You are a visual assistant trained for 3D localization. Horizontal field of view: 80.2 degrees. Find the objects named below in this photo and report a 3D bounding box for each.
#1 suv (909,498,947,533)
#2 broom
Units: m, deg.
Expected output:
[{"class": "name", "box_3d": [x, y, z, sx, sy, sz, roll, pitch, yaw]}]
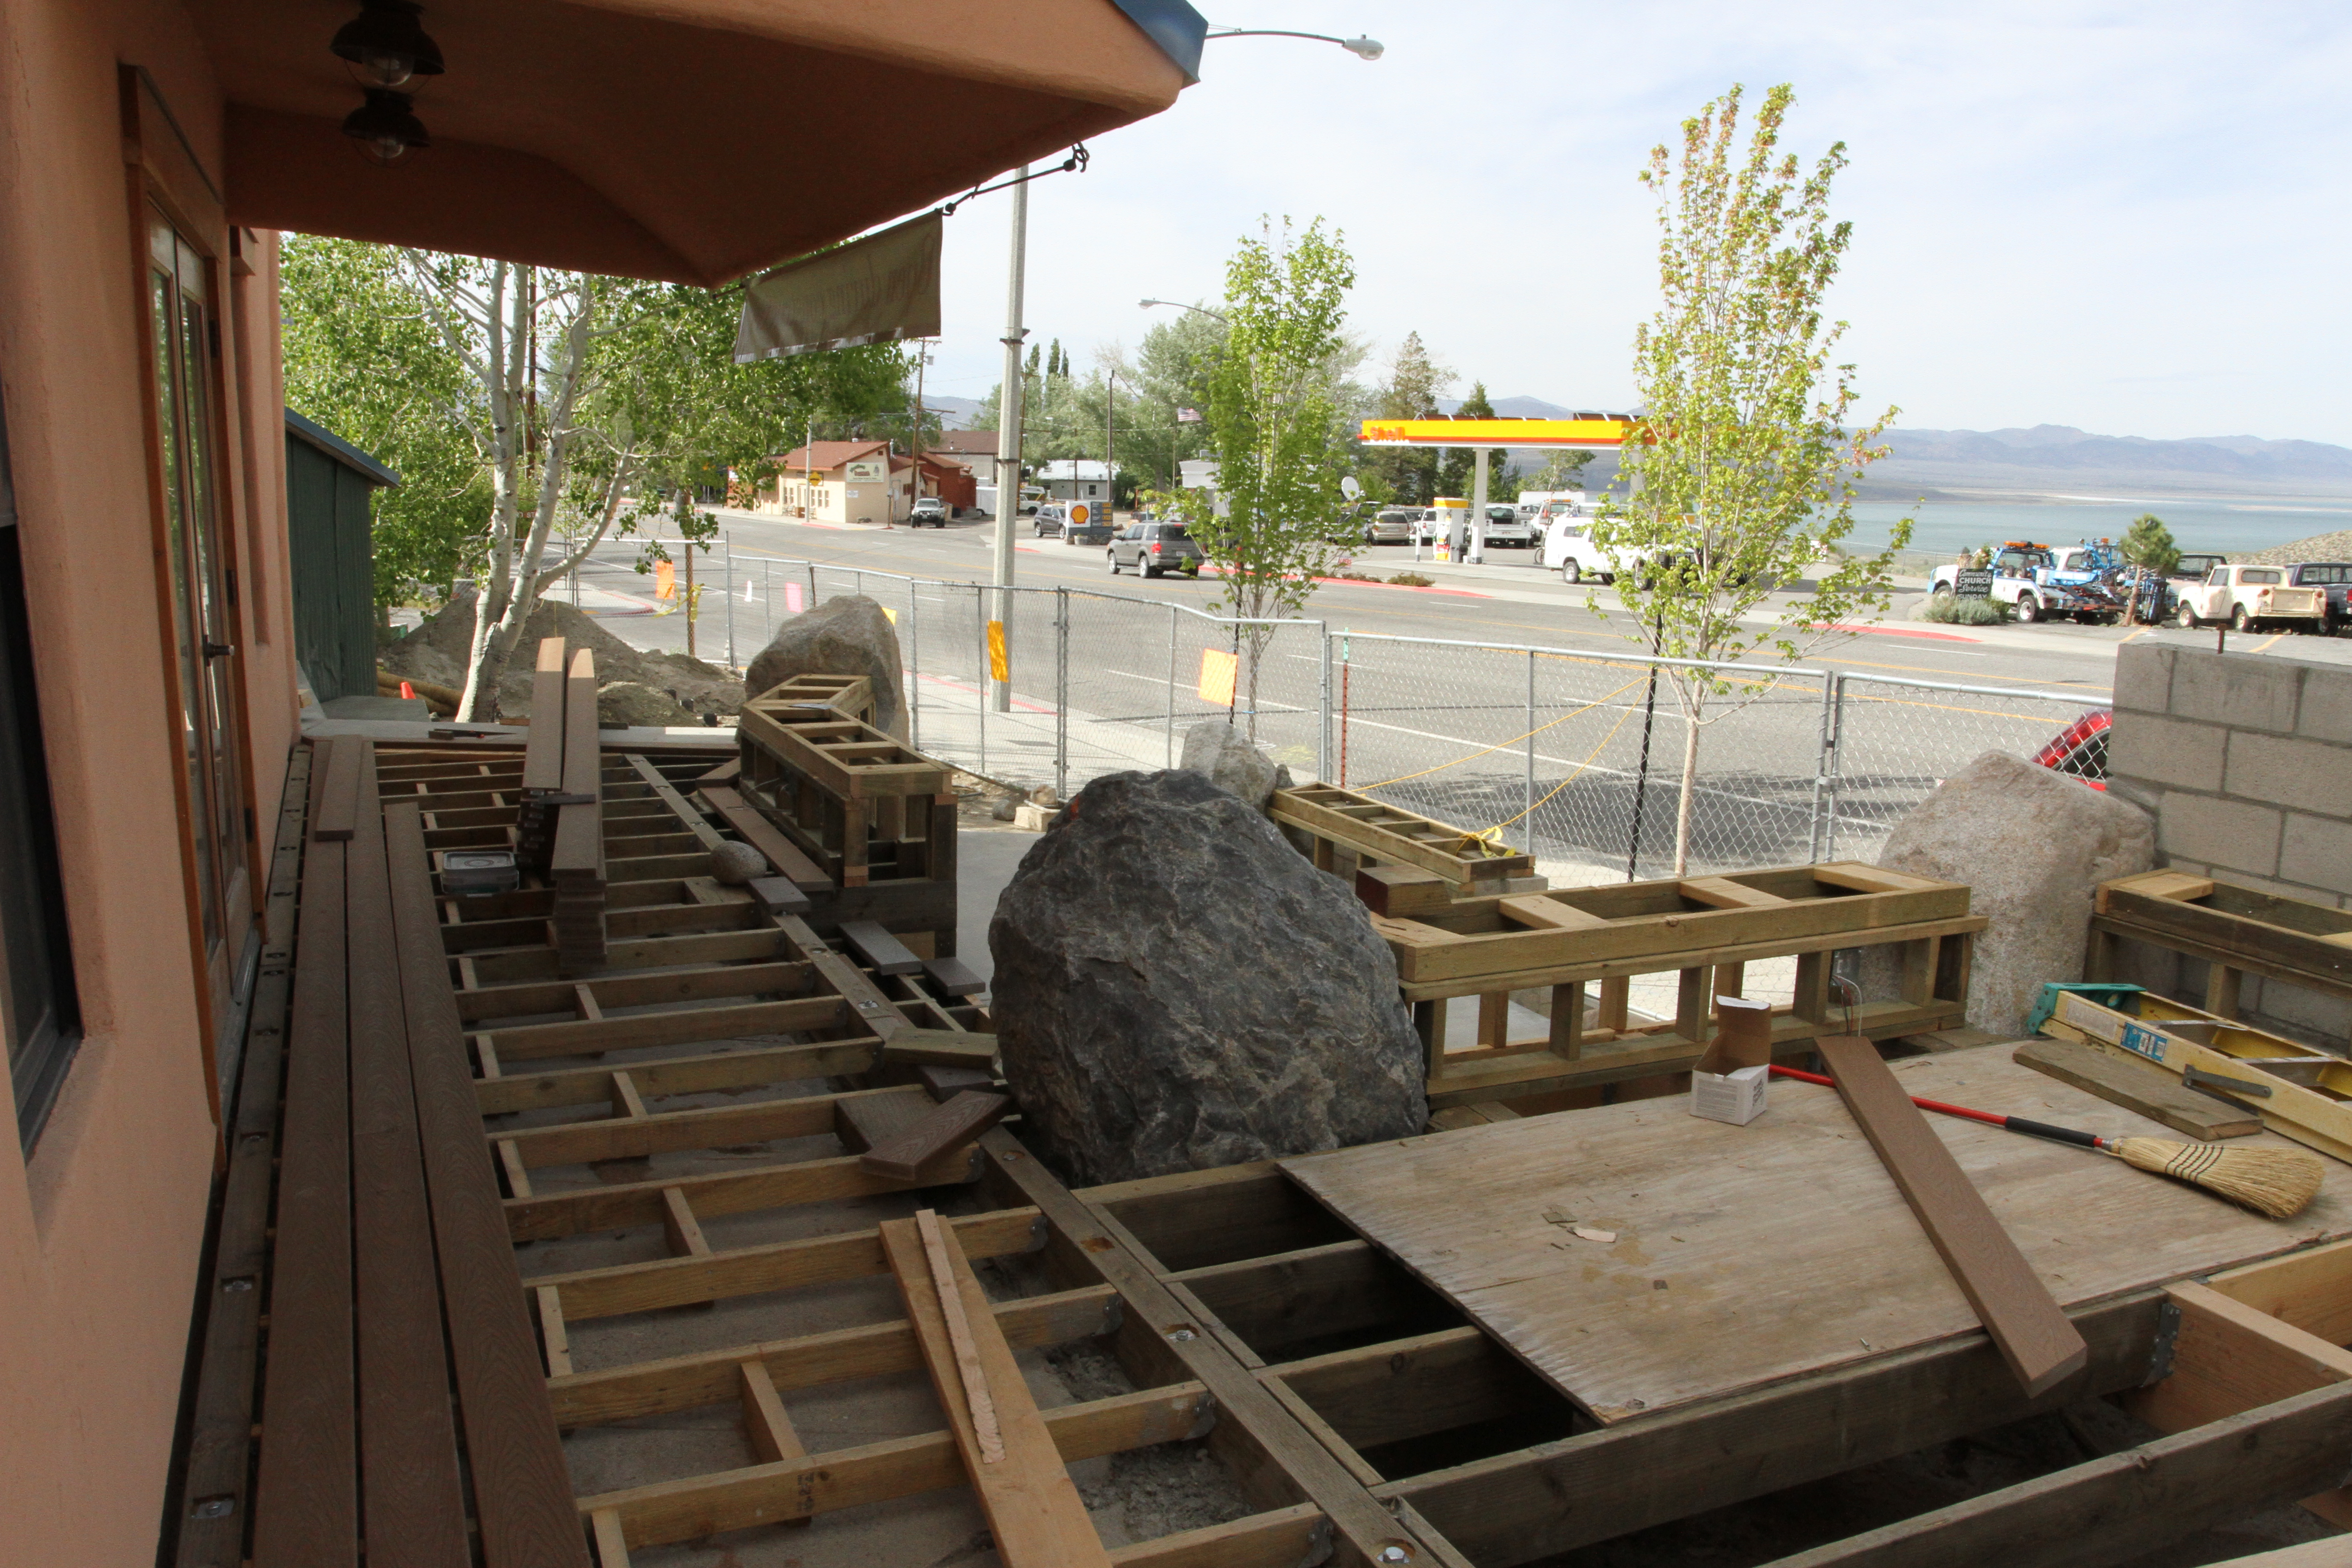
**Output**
[{"class": "suv", "box_3d": [-14.267, -15.516, 79.865, 1.982, 1.102, 3.609, -2, 10, -6]}, {"class": "broom", "box_3d": [3.500, 1.343, 5.144, 1.122, 0.123, 0.439, 10, 14, 36]}]
